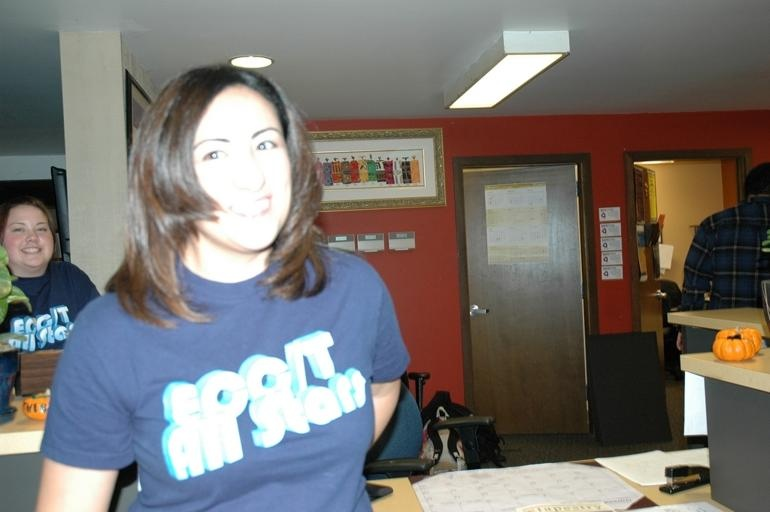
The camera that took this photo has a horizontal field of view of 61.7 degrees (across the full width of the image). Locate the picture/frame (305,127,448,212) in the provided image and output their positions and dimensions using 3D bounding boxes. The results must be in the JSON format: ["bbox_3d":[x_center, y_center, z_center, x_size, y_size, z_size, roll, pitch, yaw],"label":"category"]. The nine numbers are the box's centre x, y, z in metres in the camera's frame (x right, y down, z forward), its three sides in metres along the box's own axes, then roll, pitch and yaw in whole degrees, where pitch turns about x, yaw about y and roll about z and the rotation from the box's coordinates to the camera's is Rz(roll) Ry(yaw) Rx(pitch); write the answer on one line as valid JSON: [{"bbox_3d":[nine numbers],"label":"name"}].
[{"bbox_3d":[-0.069,-0.693,5.324,1.092,0.645,0.028,-1,0,16],"label":"picture/frame"}]

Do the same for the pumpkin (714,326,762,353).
[{"bbox_3d":[1.310,0.322,2.399,0.114,0.059,0.119,0,-7,5],"label":"pumpkin"}]

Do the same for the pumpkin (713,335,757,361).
[{"bbox_3d":[1.263,0.341,2.329,0.110,0.072,0.106,-2,-8,-2],"label":"pumpkin"}]
